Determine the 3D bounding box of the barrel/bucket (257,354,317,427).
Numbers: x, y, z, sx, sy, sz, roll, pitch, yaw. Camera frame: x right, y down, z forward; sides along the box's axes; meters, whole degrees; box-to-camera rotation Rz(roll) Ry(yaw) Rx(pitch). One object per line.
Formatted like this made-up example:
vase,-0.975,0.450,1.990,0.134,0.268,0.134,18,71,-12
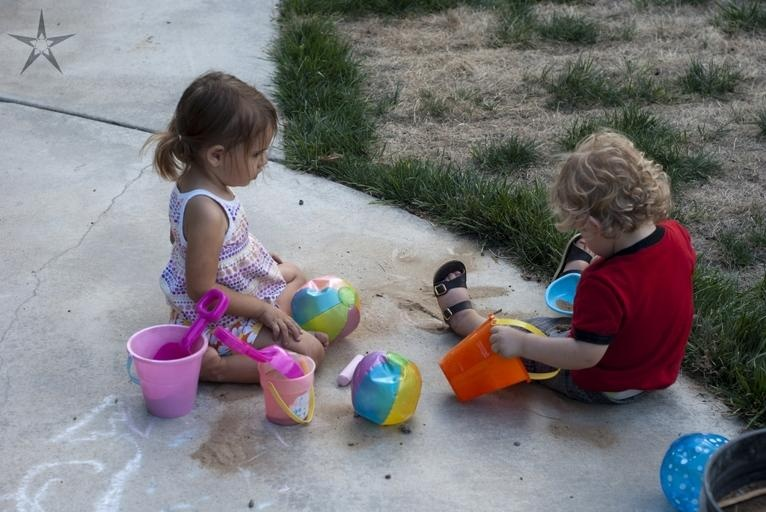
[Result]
barrel/bucket,-0.457,0.682,3.751,0.347,0.269,0.324,4,28,-2

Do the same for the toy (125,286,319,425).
toy,-0.821,0.570,3.831,0.908,0.508,0.619,7,23,-4

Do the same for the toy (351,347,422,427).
toy,-0.031,0.646,3.840,0.370,0.357,0.345,23,16,-12

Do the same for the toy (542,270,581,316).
toy,1.063,0.222,4.389,0.105,0.221,0.244,35,45,-38

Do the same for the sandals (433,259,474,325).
sandals,0.393,0.185,4.251,0.169,0.409,0.106,-12,-2,6

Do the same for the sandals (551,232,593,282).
sandals,1.154,0.018,4.467,0.148,0.108,0.392,23,71,38

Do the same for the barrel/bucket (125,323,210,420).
barrel/bucket,-1.084,0.576,3.739,0.363,0.362,0.325,30,41,28
